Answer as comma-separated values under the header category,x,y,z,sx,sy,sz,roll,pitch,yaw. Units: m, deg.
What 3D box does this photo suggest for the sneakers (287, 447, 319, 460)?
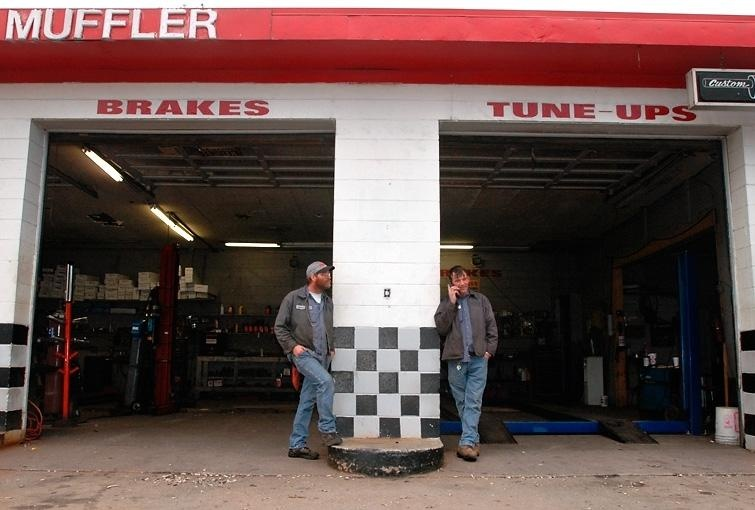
category,x,y,z,sx,sy,sz,roll,pitch,yaw
sneakers,-0.785,2.109,6.811,0.316,0.111,0.118,0,-9,6

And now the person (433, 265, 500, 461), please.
category,x,y,z,sx,sy,sz,roll,pitch,yaw
person,0.955,1.129,6.973,0.654,2.126,0.673,-1,-14,11

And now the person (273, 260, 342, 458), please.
category,x,y,z,sx,sy,sz,roll,pitch,yaw
person,-0.718,1.104,6.854,0.737,2.102,0.534,1,-14,3

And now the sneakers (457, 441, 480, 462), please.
category,x,y,z,sx,sy,sz,roll,pitch,yaw
sneakers,0.978,2.115,6.866,0.256,0.167,0.245,1,-13,3

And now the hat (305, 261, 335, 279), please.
category,x,y,z,sx,sy,sz,roll,pitch,yaw
hat,-0.641,0.153,6.929,0.316,0.144,0.201,-14,0,0

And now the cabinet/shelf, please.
category,x,y,z,sx,sy,sz,roll,pitch,yaw
cabinet/shelf,-2.694,2.548,13.046,2.159,0.776,0.600,1,-27,-5
